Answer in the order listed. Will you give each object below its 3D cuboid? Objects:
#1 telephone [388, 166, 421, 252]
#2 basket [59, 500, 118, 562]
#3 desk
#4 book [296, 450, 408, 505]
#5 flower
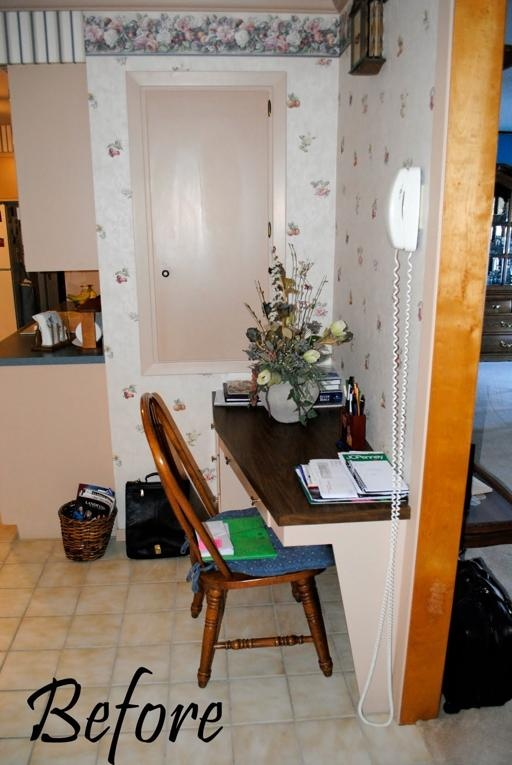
[{"bbox_3d":[0.332,-0.394,1.292,0.043,0.170,0.110,-5,15,-22],"label":"telephone"},{"bbox_3d":[-0.775,0.672,2.598,0.236,0.208,0.257,0,4,-10],"label":"basket"},{"bbox_3d":[0.125,0.547,1.890,0.464,0.684,0.878,-4,12,-5],"label":"desk"},{"bbox_3d":[0.253,0.239,1.586,0.281,0.076,0.324,-2,12,3],"label":"book"},{"bbox_3d":[0.143,-0.137,2.097,0.387,0.606,0.326,9,21,40],"label":"flower"}]
